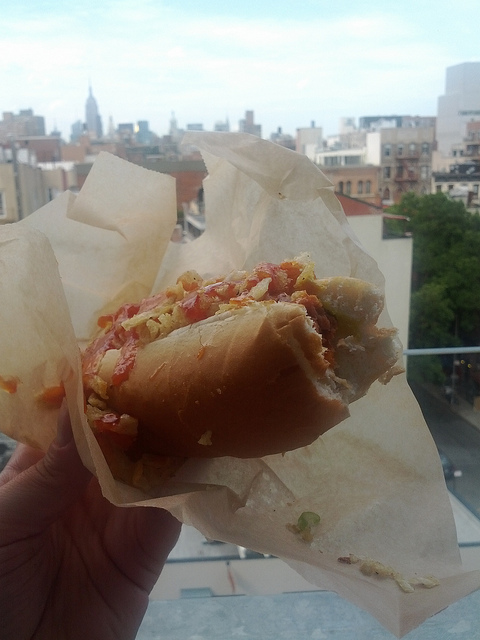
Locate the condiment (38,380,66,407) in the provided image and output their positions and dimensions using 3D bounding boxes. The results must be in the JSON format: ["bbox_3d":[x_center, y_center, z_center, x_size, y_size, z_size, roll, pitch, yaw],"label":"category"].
[{"bbox_3d":[-0.222,0.090,0.690,0.030,0.039,0.014,33,23,-19],"label":"condiment"}]

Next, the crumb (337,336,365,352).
[{"bbox_3d":[0.118,0.025,0.620,0.021,0.009,0.019,11,9,14],"label":"crumb"}]

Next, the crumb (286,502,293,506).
[{"bbox_3d":[0.063,0.234,0.742,0.007,0.004,0.004,-7,14,-23],"label":"crumb"}]

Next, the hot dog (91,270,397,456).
[{"bbox_3d":[-0.034,0.052,0.670,0.358,0.112,0.178,0,33,36],"label":"hot dog"}]
